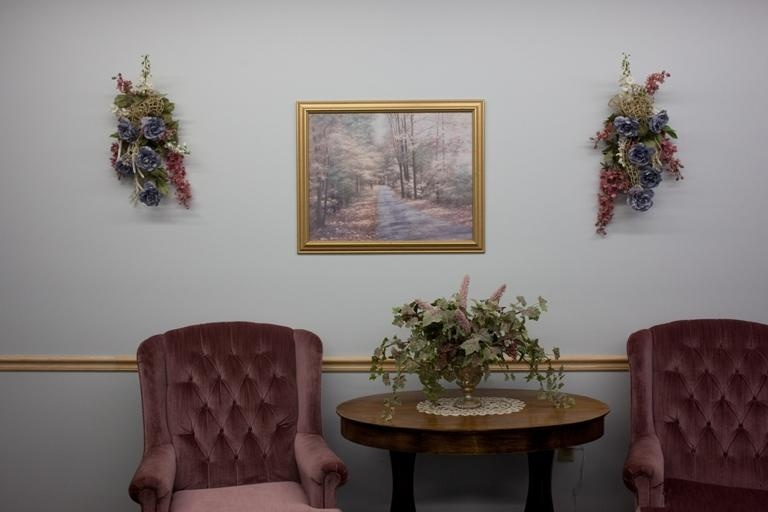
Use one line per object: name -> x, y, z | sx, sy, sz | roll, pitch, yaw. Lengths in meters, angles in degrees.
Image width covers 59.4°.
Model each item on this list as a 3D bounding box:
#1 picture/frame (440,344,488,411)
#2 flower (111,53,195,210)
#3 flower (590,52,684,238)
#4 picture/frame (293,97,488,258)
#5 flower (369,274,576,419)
picture/frame -> 0.473, 0.723, 3.869 | 0.227, 0.271, 0.210 | -1, -11, -1
flower -> -1.516, -0.796, 4.312 | 0.513, 0.976, 0.296 | 6, 12, 30
flower -> 1.611, -0.717, 4.311 | 0.574, 1.150, 0.312 | 3, 11, 15
picture/frame -> 0.078, -0.539, 4.342 | 1.052, 0.821, 0.048 | 0, 3, 1
flower -> 0.486, 0.421, 3.862 | 0.851, 0.611, 0.597 | -2, -2, -10
